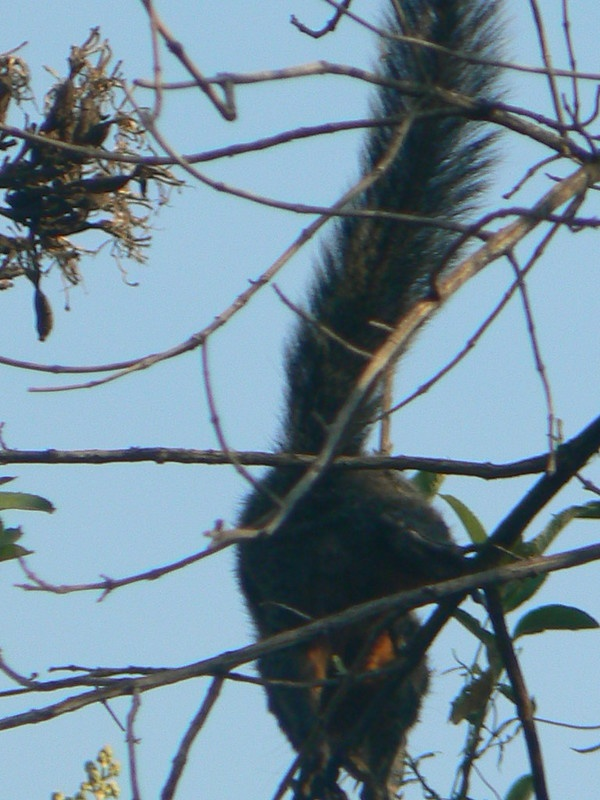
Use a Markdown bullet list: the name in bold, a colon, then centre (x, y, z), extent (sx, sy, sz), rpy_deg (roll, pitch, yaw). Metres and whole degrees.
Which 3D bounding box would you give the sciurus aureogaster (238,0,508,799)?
- **sciurus aureogaster**: centre (-0.072, 0.041, 5.045), extent (0.481, 0.859, 2.188), rpy_deg (9, -79, -10)
